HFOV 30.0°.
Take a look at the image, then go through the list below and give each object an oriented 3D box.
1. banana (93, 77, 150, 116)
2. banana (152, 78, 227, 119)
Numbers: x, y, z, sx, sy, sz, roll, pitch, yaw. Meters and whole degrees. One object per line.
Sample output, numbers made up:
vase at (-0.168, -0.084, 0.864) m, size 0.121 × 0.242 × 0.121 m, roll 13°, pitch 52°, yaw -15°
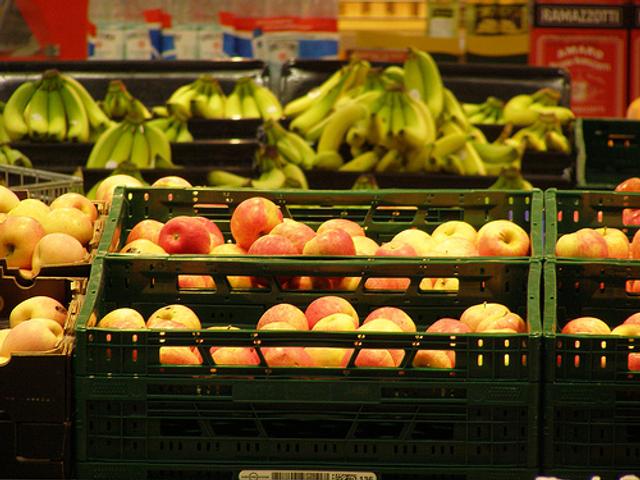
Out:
banana at (-1.223, -0.853, 7.448) m, size 0.299 × 0.185 × 0.186 m, roll 23°, pitch -5°, yaw 3°
banana at (-0.756, -0.878, 7.350) m, size 0.306 × 0.229 × 0.170 m, roll -3°, pitch 2°, yaw -11°
